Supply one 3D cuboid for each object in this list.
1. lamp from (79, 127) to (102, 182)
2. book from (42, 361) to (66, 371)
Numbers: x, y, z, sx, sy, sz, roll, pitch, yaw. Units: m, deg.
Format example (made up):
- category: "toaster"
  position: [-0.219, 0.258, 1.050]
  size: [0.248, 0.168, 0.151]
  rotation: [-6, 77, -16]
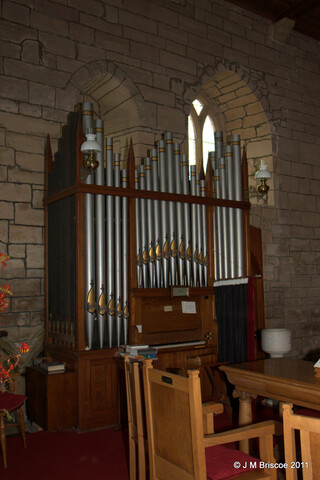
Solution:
- category: "lamp"
  position: [-0.554, -0.670, 3.704]
  size: [0.167, 0.347, 0.156]
  rotation: [-3, 0, -11]
- category: "book"
  position: [-0.892, 1.079, 3.892]
  size: [0.198, 0.054, 0.234]
  rotation: [1, -2, -21]
